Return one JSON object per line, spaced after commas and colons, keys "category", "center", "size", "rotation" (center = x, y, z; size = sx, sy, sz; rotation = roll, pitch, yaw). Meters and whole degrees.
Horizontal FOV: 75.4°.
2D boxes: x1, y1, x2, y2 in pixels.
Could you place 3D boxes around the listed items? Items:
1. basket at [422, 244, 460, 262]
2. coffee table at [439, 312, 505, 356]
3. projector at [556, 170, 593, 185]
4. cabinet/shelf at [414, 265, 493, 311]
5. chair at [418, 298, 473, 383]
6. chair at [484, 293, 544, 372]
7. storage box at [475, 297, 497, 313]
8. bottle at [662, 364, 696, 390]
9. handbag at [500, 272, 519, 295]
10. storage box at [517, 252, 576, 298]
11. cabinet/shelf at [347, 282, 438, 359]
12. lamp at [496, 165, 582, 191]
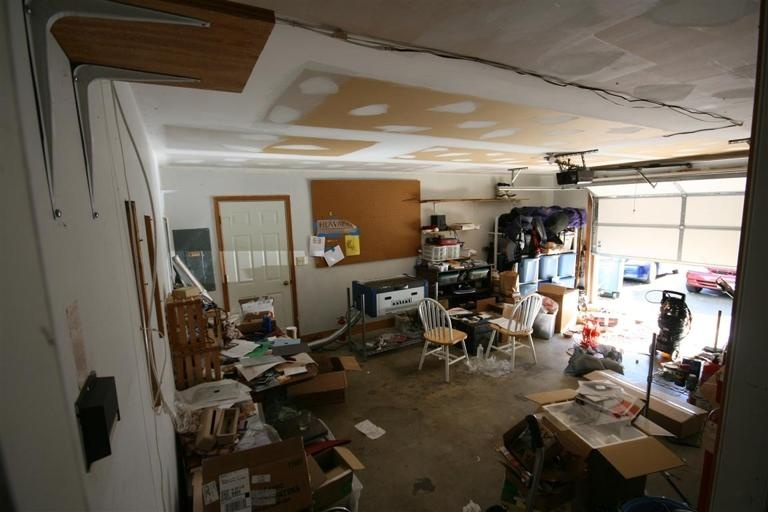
{"category": "basket", "center": [0.769, -0.064, 6.619], "size": [0.509, 0.222, 0.314], "rotation": [0, 14, 3]}
{"category": "coffee table", "center": [0.989, 0.810, 5.654], "size": [0.435, 0.256, 0.550], "rotation": [-4, 10, -22]}
{"category": "projector", "center": [1.854, -0.791, 4.894], "size": [0.232, 0.076, 0.223], "rotation": [-3, 7, -34]}
{"category": "cabinet/shelf", "center": [0.936, 0.446, 6.621], "size": [0.867, 0.708, 0.333], "rotation": [-9, 23, -33]}
{"category": "chair", "center": [0.630, 0.800, 5.219], "size": [0.442, 0.781, 0.438], "rotation": [-10, 11, -37]}
{"category": "chair", "center": [1.434, 0.744, 5.498], "size": [0.523, 0.820, 0.998], "rotation": [3, 14, 16]}
{"category": "storage box", "center": [1.311, 0.614, 6.364], "size": [0.199, 0.112, 0.190], "rotation": [-15, 18, -27]}
{"category": "bottle", "center": [2.770, 1.134, 4.654], "size": [0.251, 0.106, 0.350], "rotation": [-1, 4, 31]}
{"category": "handbag", "center": [1.589, 0.352, 6.520], "size": [0.306, 0.268, 0.245], "rotation": [-1, 6, 1]}
{"category": "storage box", "center": [2.195, 0.240, 6.826], "size": [0.652, 0.305, 0.203], "rotation": [-4, 12, -22]}
{"category": "cabinet/shelf", "center": [0.058, 0.693, 5.927], "size": [0.930, 0.774, 0.540], "rotation": [-4, 8, -37]}
{"category": "lamp", "center": [2.041, -0.968, 6.753], "size": [1.026, 0.231, 0.644], "rotation": [3, 6, 36]}
